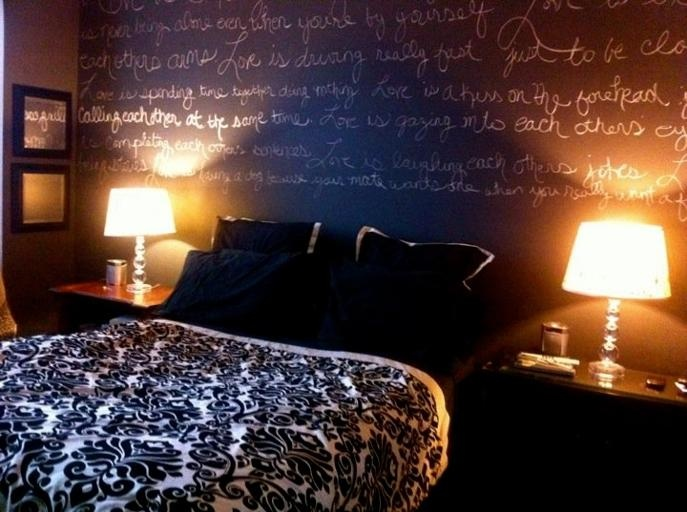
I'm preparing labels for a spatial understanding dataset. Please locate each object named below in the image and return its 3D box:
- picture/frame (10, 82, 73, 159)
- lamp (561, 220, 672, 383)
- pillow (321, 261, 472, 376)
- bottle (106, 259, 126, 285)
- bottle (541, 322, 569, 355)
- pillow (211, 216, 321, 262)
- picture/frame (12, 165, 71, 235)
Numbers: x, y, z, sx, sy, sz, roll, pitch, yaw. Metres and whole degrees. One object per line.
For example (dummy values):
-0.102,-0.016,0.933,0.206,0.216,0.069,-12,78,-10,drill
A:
-2.195,-0.961,3.949,0.468,0.506,0.033,6,9,8,picture/frame
1.357,0.233,2.689,0.478,0.785,0.496,-7,12,-22,lamp
0.244,0.292,2.688,0.596,0.555,0.187,9,-4,13,pillow
-1.600,0.111,3.872,0.148,0.167,0.163,10,10,40,bottle
1.099,0.416,2.813,0.142,0.165,0.145,5,5,38,bottle
-0.503,-0.125,3.357,0.482,0.323,0.143,8,-1,17,pillow
-2.250,-0.419,3.957,0.034,0.491,0.468,7,10,23,picture/frame
